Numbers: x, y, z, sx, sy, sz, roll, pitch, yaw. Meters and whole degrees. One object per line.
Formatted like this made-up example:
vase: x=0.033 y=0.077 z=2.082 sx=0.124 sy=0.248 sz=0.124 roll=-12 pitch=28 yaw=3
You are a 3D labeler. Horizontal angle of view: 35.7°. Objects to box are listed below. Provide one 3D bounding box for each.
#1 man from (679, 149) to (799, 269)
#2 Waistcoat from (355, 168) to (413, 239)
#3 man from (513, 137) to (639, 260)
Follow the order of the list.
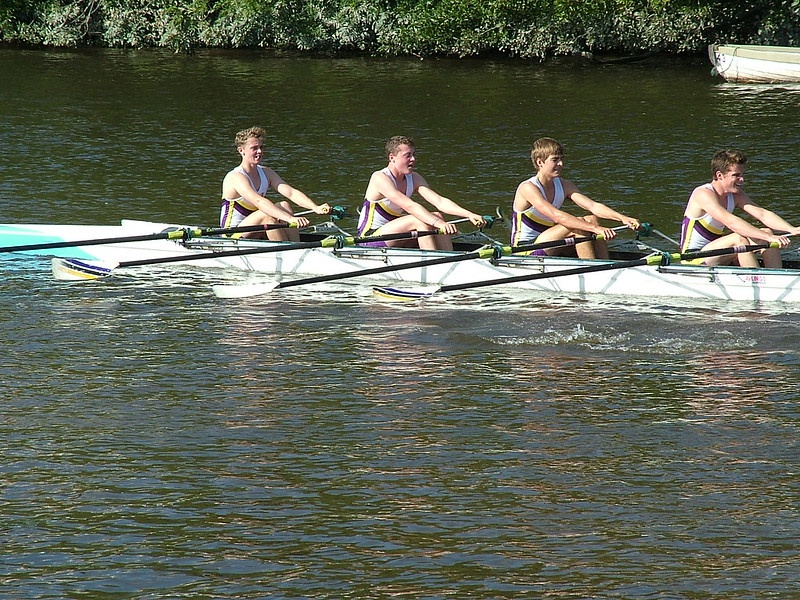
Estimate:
man: x=3.980 y=-1.070 z=14.826 sx=1.493 sy=1.395 sz=0.715 roll=4 pitch=11 yaw=23
Waistcoat: x=-0.272 y=-1.264 z=16.248 sx=0.792 sy=0.800 sz=0.495 roll=-5 pitch=37 yaw=-37
man: x=2.005 y=-1.220 z=15.309 sx=0.826 sy=1.465 sz=1.446 roll=-9 pitch=13 yaw=-43
